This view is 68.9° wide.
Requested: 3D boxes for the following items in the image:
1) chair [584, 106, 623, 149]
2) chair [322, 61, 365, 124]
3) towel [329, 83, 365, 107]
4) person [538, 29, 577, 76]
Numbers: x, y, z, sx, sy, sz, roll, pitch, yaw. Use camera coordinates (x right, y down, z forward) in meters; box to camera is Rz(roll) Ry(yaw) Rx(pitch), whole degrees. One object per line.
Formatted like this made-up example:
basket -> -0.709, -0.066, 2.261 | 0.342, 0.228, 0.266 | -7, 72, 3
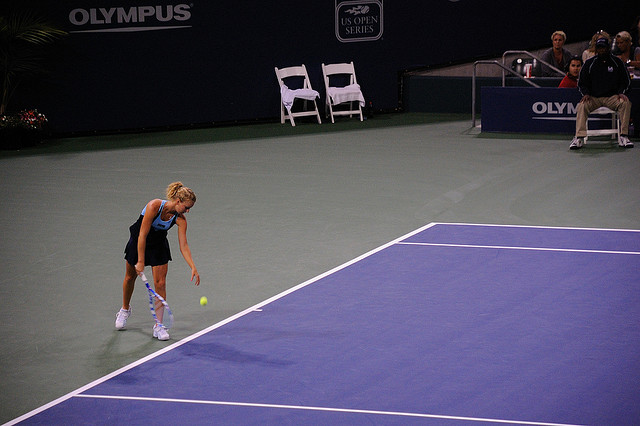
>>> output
chair -> 7.762, -2.513, 13.033 | 0.916, 1.352, 0.944 | -6, -29, 28
chair -> 0.869, -4.595, 17.681 | 1.587, 2.224, 1.372 | -7, 15, -20
towel -> 1.006, -4.373, 17.339 | 1.288, 0.763, 0.502 | -1, 14, 0
person -> 7.662, -5.092, 15.107 | 1.068, 1.520, 1.034 | -20, 20, -42
